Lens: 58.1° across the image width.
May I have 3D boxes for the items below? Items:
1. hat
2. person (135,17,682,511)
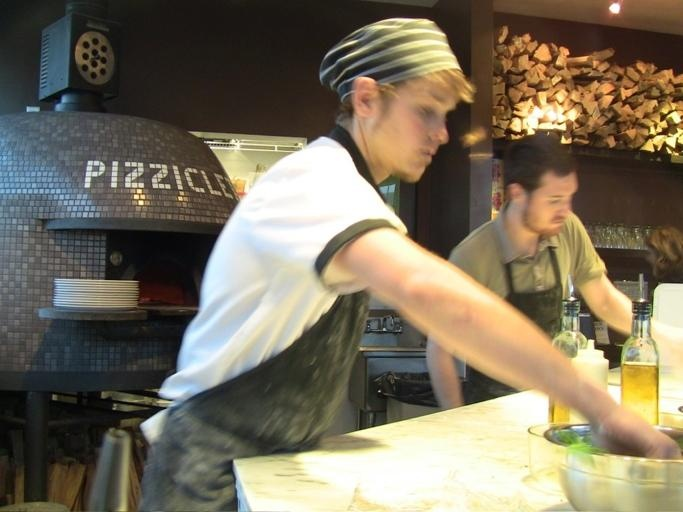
[{"bbox_3d":[0.102,-0.473,1.479,0.257,0.090,0.234,-2,13,23],"label":"hat"},{"bbox_3d":[0.059,0.005,1.362,1.039,0.769,0.444,2,1,24],"label":"person"}]
